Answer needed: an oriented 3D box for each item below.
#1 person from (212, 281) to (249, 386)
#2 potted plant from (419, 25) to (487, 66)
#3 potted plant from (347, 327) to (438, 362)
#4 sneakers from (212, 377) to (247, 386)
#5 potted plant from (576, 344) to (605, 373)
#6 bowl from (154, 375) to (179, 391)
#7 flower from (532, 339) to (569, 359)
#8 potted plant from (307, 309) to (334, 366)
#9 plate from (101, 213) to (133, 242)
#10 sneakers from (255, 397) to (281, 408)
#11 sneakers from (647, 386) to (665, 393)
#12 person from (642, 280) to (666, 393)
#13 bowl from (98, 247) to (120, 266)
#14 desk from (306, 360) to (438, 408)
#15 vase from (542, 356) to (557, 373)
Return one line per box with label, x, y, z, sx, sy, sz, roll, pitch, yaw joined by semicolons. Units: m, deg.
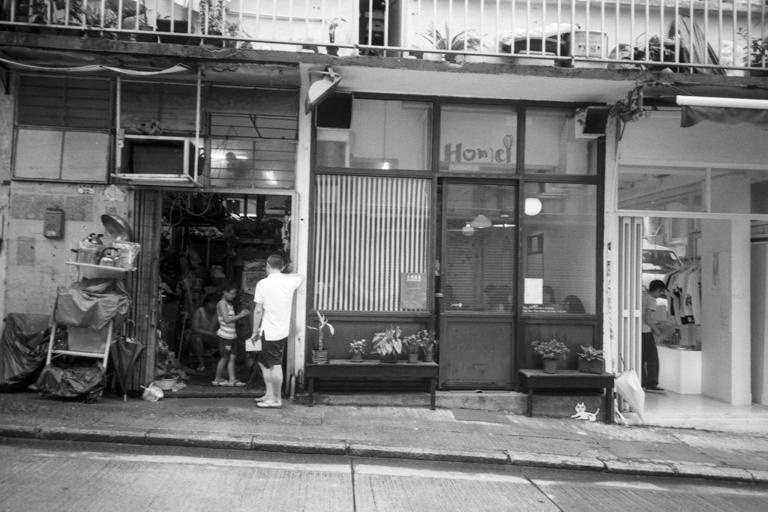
person;-2.622;1.298;15.182;0.567;1.666;0.903;0;1;-9
potted plant;1.133;-3.482;14.460;0.890;0.395;0.864;0;5;-32
potted plant;0.213;1.407;14.272;1.054;0.388;0.620;-1;-1;-1
sneakers;-2.575;2.096;14.909;0.559;0.168;0.194;1;-6;-1
potted plant;3.351;1.665;14.390;0.427;0.301;0.414;-1;-7;15
bowl;-3.502;2.034;14.479;0.241;0.216;0.505;1;1;43
flower;2.699;1.453;14.454;0.395;0.207;0.377;2;1;-20
potted plant;-1.015;1.252;14.206;0.459;0.802;0.382;1;1;-2
plate;-4.209;-0.454;14.067;0.480;0.419;0.296;0;1;-17
sneakers;-1.786;2.245;13.791;0.283;0.102;0.158;2;-10;4
sneakers;4.974;2.403;16.220;0.364;0.131;0.117;0;-1;-9
person;4.997;1.419;16.508;0.397;1.986;1.168;1;1;17
bowl;-4.244;-0.001;13.812;0.364;0.324;0.207;1;-3;-2
desk;-0.167;2.021;14.194;2.137;0.775;0.427;0;1;-4
vase;2.676;1.713;14.358;0.250;0.230;0.263;0;1;3
